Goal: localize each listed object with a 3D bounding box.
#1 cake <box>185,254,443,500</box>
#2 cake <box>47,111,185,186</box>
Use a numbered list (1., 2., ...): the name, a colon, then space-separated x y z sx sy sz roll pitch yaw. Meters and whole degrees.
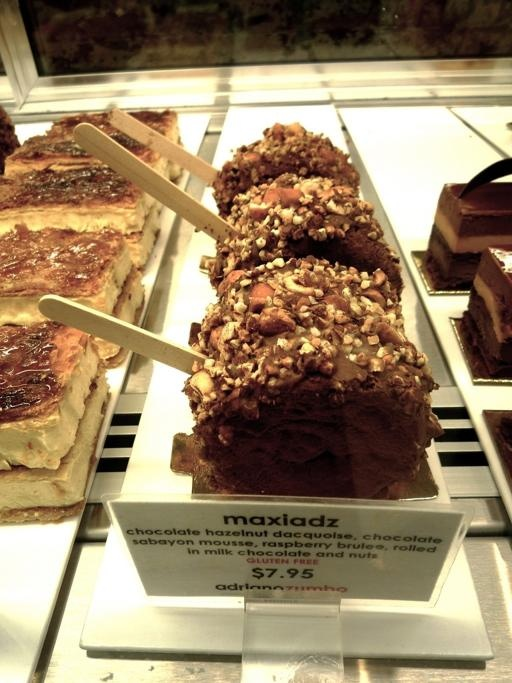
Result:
1. cake: 0.099 0.122 1.202 0.454 0.246 0.369 -3 12 -4
2. cake: -0.428 -0.574 1.944 0.514 0.115 0.426 -1 31 -9
